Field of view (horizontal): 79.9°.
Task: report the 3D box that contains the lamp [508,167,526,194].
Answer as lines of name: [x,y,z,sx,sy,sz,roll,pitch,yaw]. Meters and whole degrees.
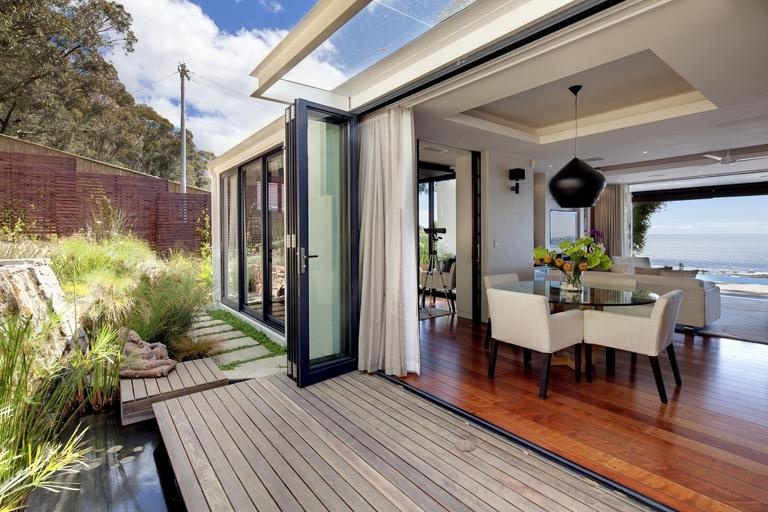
lamp: [2.277,-1.274,7.745,0.394,0.424,0.213,-3,5,-42]

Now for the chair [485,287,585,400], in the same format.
chair: [1.888,0.816,5.551,1.166,1.503,1.128,-4,6,-33]

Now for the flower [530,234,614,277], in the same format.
flower: [2.323,-0.019,5.721,0.856,0.445,0.455,1,4,18]

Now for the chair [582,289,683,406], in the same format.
chair: [2.887,0.949,5.352,0.821,1.063,0.896,-4,7,-38]

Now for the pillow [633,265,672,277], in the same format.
pillow: [4.246,0.231,7.306,0.321,0.107,0.326,0,12,17]

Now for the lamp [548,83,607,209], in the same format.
lamp: [2.589,-1.410,6.008,0.616,1.513,1.062,3,5,33]
